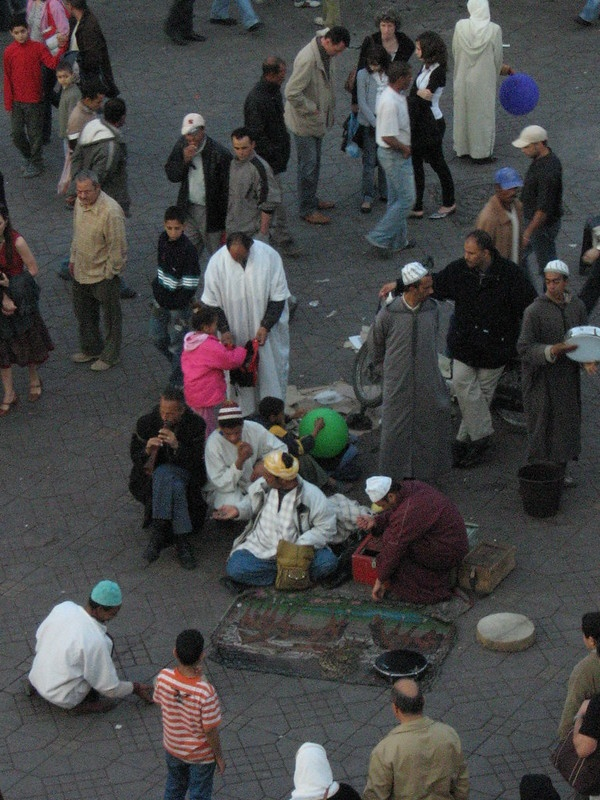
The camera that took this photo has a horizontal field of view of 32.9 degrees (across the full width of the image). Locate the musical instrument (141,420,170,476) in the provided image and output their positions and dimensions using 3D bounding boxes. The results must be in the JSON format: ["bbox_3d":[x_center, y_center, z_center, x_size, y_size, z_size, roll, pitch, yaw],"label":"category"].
[{"bbox_3d":[-0.989,0.369,6.979,0.090,0.081,0.253,6,53,15],"label":"musical instrument"}]

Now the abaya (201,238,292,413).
[{"bbox_3d":[-0.407,-0.495,8.114,0.747,1.606,0.658,-2,21,4],"label":"abaya"}]

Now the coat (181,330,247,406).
[{"bbox_3d":[-0.710,-0.232,7.777,0.533,0.510,0.450,-1,9,-21],"label":"coat"}]

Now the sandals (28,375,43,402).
[{"bbox_3d":[-2.374,-0.079,9.087,0.106,0.069,0.245,-3,70,-6],"label":"sandals"}]

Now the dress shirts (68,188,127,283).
[{"bbox_3d":[-1.800,-1.392,8.995,0.505,0.808,0.256,-1,30,-2],"label":"dress shirts"}]

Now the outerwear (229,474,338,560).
[{"bbox_3d":[-0.114,0.783,6.874,0.804,0.562,0.473,14,28,25],"label":"outerwear"}]

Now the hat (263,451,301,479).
[{"bbox_3d":[-0.121,0.445,6.615,0.210,0.168,0.205,-1,27,-3],"label":"hat"}]

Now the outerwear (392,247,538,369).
[{"bbox_3d":[1.245,-0.636,7.518,1.324,0.760,0.350,14,40,22],"label":"outerwear"}]

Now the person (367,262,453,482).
[{"bbox_3d":[0.834,-0.181,7.404,0.585,1.640,0.475,-3,30,-5],"label":"person"}]

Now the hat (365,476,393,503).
[{"bbox_3d":[0.479,0.539,6.184,0.131,0.147,0.166,-23,46,38],"label":"hat"}]

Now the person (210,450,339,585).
[{"bbox_3d":[-0.174,0.793,6.773,0.941,0.826,0.672,6,21,26],"label":"person"}]

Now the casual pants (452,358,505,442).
[{"bbox_3d":[1.350,0.041,7.855,0.371,0.752,0.303,4,30,8],"label":"casual pants"}]

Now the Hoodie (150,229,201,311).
[{"bbox_3d":[-1.052,-1.065,8.609,0.406,0.660,0.295,1,29,1],"label":"Hoodie"}]

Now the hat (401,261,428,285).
[{"bbox_3d":[0.810,-0.864,7.179,0.180,0.206,0.272,3,27,5],"label":"hat"}]

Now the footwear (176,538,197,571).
[{"bbox_3d":[-0.799,1.063,7.041,0.102,0.103,0.268,-12,38,-16],"label":"footwear"}]

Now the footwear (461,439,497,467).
[{"bbox_3d":[1.388,0.428,7.939,0.250,0.154,0.087,-30,29,-15],"label":"footwear"}]

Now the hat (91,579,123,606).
[{"bbox_3d":[-1.017,1.034,5.400,0.191,0.105,0.116,8,55,-19],"label":"hat"}]

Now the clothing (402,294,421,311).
[{"bbox_3d":[0.791,-0.694,7.160,0.112,0.104,0.114,-7,69,2],"label":"clothing"}]

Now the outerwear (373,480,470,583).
[{"bbox_3d":[0.713,0.819,6.550,0.736,0.567,0.773,-2,15,-7],"label":"outerwear"}]

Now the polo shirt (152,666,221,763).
[{"bbox_3d":[-0.507,1.435,4.574,0.339,0.439,0.214,5,30,8],"label":"polo shirt"}]

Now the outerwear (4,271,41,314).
[{"bbox_3d":[-2.322,-0.883,8.449,0.271,0.268,0.203,40,74,23],"label":"outerwear"}]

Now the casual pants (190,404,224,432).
[{"bbox_3d":[-0.682,0.143,7.382,0.084,0.289,0.077,-27,51,-20],"label":"casual pants"}]

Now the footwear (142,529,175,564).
[{"bbox_3d":[-0.990,1.010,7.073,0.119,0.211,0.305,11,27,13],"label":"footwear"}]

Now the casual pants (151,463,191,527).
[{"bbox_3d":[-0.912,0.676,7.112,0.364,0.386,0.151,1,16,-15],"label":"casual pants"}]

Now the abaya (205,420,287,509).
[{"bbox_3d":[-0.388,0.484,7.093,0.345,0.449,0.468,31,48,28],"label":"abaya"}]

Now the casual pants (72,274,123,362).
[{"bbox_3d":[-1.852,-0.722,9.375,0.392,0.893,0.267,23,37,34],"label":"casual pants"}]

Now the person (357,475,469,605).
[{"bbox_3d":[0.705,0.887,6.506,0.764,0.752,0.619,-9,15,-27],"label":"person"}]

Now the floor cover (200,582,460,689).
[{"bbox_3d":[0.212,1.419,6.194,1.453,0.151,0.863,8,26,15],"label":"floor cover"}]

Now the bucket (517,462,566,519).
[{"bbox_3d":[1.709,0.645,7.193,0.356,0.272,0.328,-4,23,2],"label":"bucket"}]

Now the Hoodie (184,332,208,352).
[{"bbox_3d":[-0.790,-0.428,7.553,0.154,0.067,0.158,-5,40,39],"label":"Hoodie"}]
